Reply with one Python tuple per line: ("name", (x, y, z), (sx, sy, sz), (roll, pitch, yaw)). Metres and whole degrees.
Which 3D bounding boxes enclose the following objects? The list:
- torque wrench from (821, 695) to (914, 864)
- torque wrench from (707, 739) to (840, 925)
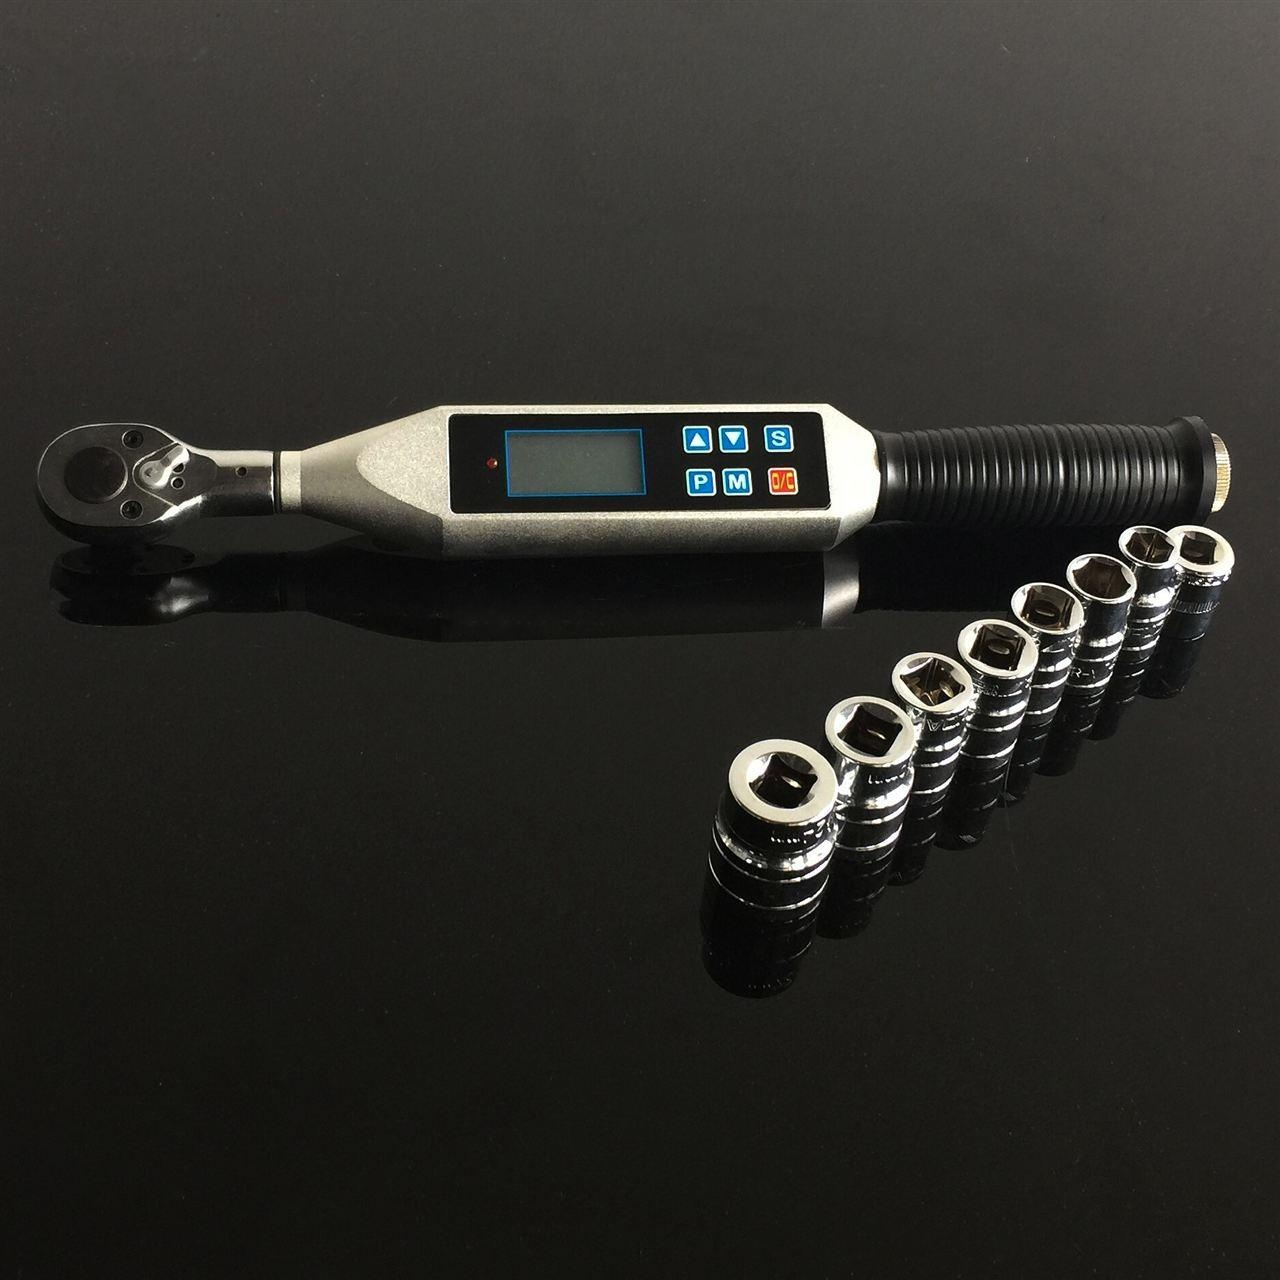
("torque wrench", (0.140, 0.103, 0.987), (0.042, 0.060, 0.059), (11, 13, 21))
("torque wrench", (0.081, 0.120, 0.963), (0.073, 0.113, 0.079), (29, 50, 26))
